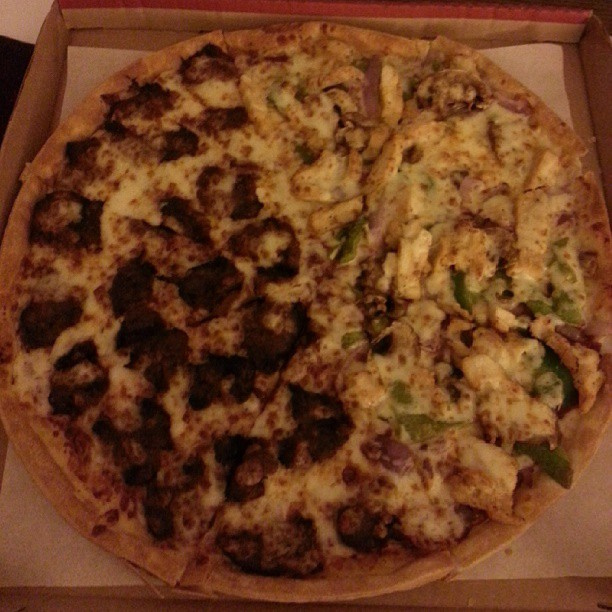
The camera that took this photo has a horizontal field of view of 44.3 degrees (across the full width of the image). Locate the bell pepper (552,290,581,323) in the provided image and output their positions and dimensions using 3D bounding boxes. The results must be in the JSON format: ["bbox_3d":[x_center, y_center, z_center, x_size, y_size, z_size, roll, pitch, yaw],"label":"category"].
[{"bbox_3d":[0.874,0.023,2.510,0.089,0.097,0.028,2,20,27],"label":"bell pepper"}]

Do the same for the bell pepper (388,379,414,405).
[{"bbox_3d":[0.323,0.292,2.485,0.088,0.043,0.055,26,54,17],"label":"bell pepper"}]

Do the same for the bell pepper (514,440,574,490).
[{"bbox_3d":[0.797,0.525,2.491,0.184,0.077,0.176,6,28,10],"label":"bell pepper"}]

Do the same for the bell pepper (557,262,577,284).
[{"bbox_3d":[0.869,-0.093,2.504,0.075,0.037,0.031,32,56,21],"label":"bell pepper"}]

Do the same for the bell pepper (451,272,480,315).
[{"bbox_3d":[0.545,-0.031,2.562,0.095,0.135,0.031,-7,4,10],"label":"bell pepper"}]
